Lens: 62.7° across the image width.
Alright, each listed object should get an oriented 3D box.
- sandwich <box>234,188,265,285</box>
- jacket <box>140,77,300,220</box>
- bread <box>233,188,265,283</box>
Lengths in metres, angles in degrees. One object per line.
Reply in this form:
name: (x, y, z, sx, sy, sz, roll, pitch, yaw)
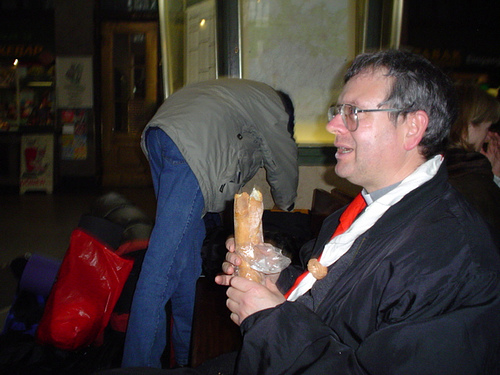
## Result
sandwich: (-0.004, 0.227, 1.783, 0.099, 0.403, 0.375, -3, 17, -4)
jacket: (0.040, -0.263, 2.842, 0.875, 0.780, 0.735, -12, 20, -21)
bread: (-0.009, 0.180, 1.761, 0.105, 0.433, 0.110, -2, 14, 0)
